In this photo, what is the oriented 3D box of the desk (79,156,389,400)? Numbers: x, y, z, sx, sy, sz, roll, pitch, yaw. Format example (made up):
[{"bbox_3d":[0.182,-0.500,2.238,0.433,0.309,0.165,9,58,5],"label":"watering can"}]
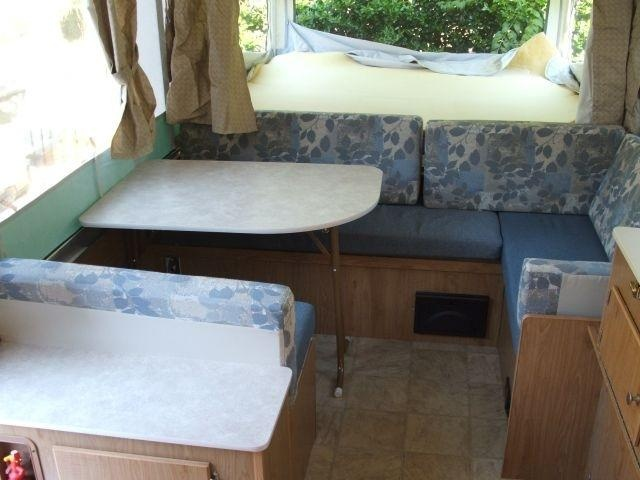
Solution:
[{"bbox_3d":[-0.312,0.333,2.669,1.433,1.031,0.944,2,37,5],"label":"desk"}]
